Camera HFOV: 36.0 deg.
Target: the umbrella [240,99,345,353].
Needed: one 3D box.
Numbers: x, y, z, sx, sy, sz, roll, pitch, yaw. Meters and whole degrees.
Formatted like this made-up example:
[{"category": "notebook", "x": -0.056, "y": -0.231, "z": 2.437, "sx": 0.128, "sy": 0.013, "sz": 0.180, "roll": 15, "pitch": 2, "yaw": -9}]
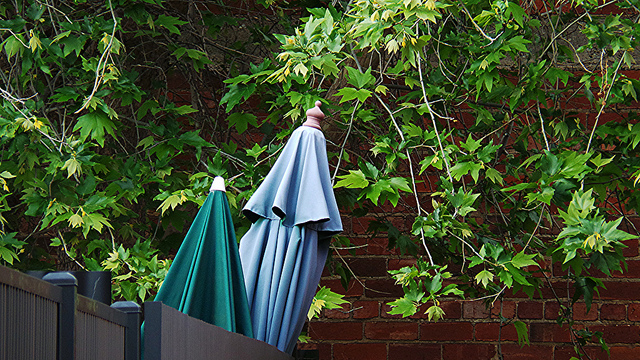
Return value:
[{"category": "umbrella", "x": -0.160, "y": 0.238, "z": 5.505, "sx": 0.555, "sy": 1.412, "sz": 0.251, "roll": 6, "pitch": -13, "yaw": -5}]
